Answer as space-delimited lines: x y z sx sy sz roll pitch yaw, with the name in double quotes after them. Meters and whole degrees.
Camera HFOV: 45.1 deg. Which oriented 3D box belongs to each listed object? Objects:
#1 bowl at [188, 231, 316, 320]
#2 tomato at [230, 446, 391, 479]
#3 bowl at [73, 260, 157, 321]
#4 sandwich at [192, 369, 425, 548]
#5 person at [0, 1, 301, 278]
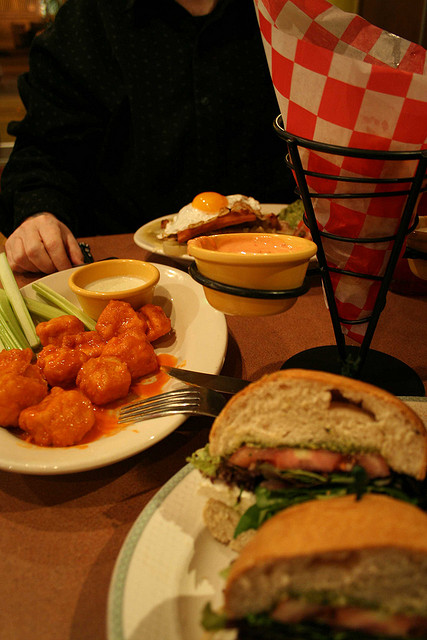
0.058 -0.081 0.755 0.156 0.082 0.148 0 18 0 "bowl"
0.126 0.175 0.641 0.167 0.032 0.033 4 47 7 "tomato"
-0.243 -0.094 1.291 0.178 0.076 0.179 -1 26 1 "bowl"
0.114 0.143 0.662 0.288 0.199 0.094 15 20 12 "sandwich"
-0.249 -0.737 2.022 1.398 0.929 0.749 -5 43 -11 "person"
